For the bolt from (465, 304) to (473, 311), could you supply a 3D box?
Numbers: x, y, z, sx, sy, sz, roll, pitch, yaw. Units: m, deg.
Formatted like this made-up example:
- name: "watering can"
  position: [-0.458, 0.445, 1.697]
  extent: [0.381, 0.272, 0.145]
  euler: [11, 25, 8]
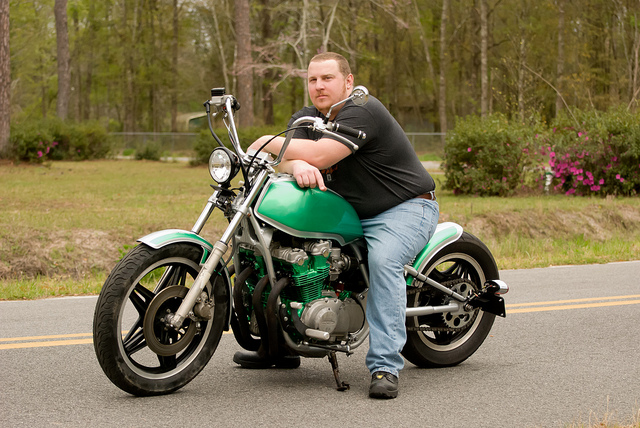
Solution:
- name: "bolt"
  position: [1.781, 1.113, 8.664]
  extent: [0.063, 0.064, 0.020]
  euler: [30, -9, -16]

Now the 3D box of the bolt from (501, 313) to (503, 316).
- name: "bolt"
  position: [2.162, 1.179, 8.610]
  extent: [0.025, 0.026, 0.009]
  euler: [4, -2, 6]

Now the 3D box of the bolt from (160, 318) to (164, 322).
- name: "bolt"
  position: [-1.683, 1.124, 7.771]
  extent: [0.036, 0.038, 0.035]
  euler: [1, -5, -10]

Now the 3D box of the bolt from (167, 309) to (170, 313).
- name: "bolt"
  position: [-1.620, 1.033, 7.787]
  extent: [0.037, 0.038, 0.011]
  euler: [19, -4, -20]
